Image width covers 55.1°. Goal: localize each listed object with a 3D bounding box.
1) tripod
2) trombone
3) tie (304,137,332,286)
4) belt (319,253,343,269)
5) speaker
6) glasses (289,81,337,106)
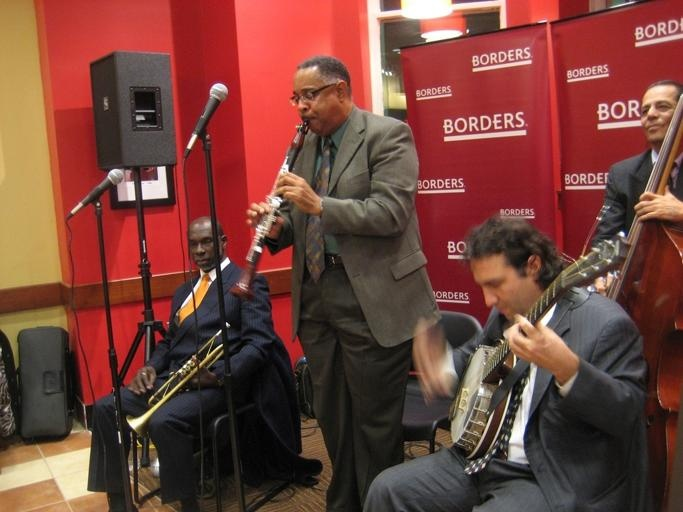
[{"bbox_3d":[-1.323,0.554,4.331,0.307,2.183,0.329,0,12,-25],"label":"tripod"},{"bbox_3d":[-0.875,0.688,3.569,0.653,0.205,0.205,-48,43,-12],"label":"trombone"},{"bbox_3d":[-0.119,-0.161,3.202,0.098,0.821,0.074,-1,-3,37],"label":"tie"},{"bbox_3d":[-0.042,0.029,3.150,0.056,0.037,0.078,-10,-13,40],"label":"belt"},{"bbox_3d":[-1.426,-0.967,4.505,0.454,0.791,0.468,2,8,33],"label":"speaker"},{"bbox_3d":[-0.134,-0.769,3.084,0.132,0.042,0.128,-34,10,-27],"label":"glasses"}]
